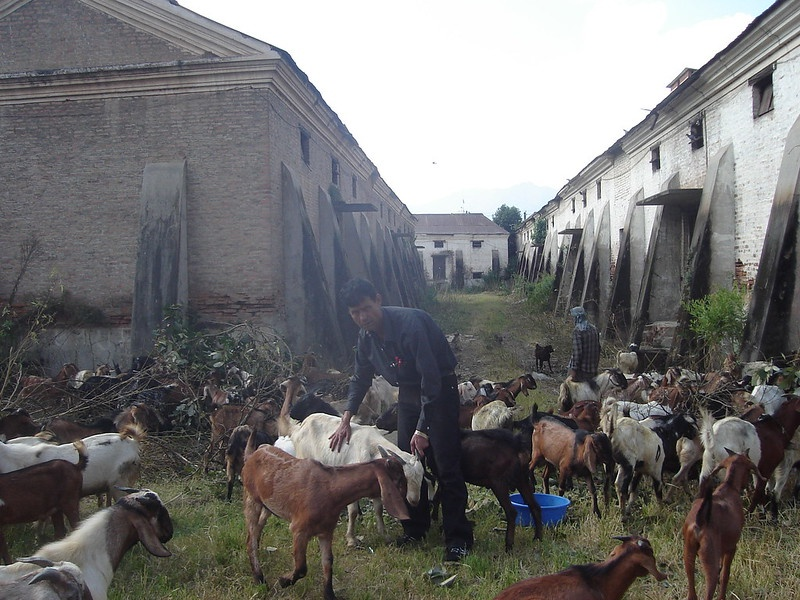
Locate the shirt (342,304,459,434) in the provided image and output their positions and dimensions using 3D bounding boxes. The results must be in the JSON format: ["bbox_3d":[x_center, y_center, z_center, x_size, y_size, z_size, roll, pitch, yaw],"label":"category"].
[{"bbox_3d":[0.030,0.973,7.381,1.217,1.792,0.933,7,22,34],"label":"shirt"}]

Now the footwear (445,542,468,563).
[{"bbox_3d":[0.608,2.762,6.782,0.107,0.127,0.308,0,-17,26],"label":"footwear"}]

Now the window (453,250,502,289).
[{"bbox_3d":[5.119,-1.992,42.707,2.640,2.777,1.421,1,-1,0],"label":"window"}]

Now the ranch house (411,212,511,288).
[{"bbox_3d":[4.452,-3.481,45.167,5.628,3.786,5.868,0,3,5],"label":"ranch house"}]

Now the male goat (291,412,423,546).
[{"bbox_3d":[-0.302,1.837,7.009,2.290,1.368,0.767,-1,2,45],"label":"male goat"}]
